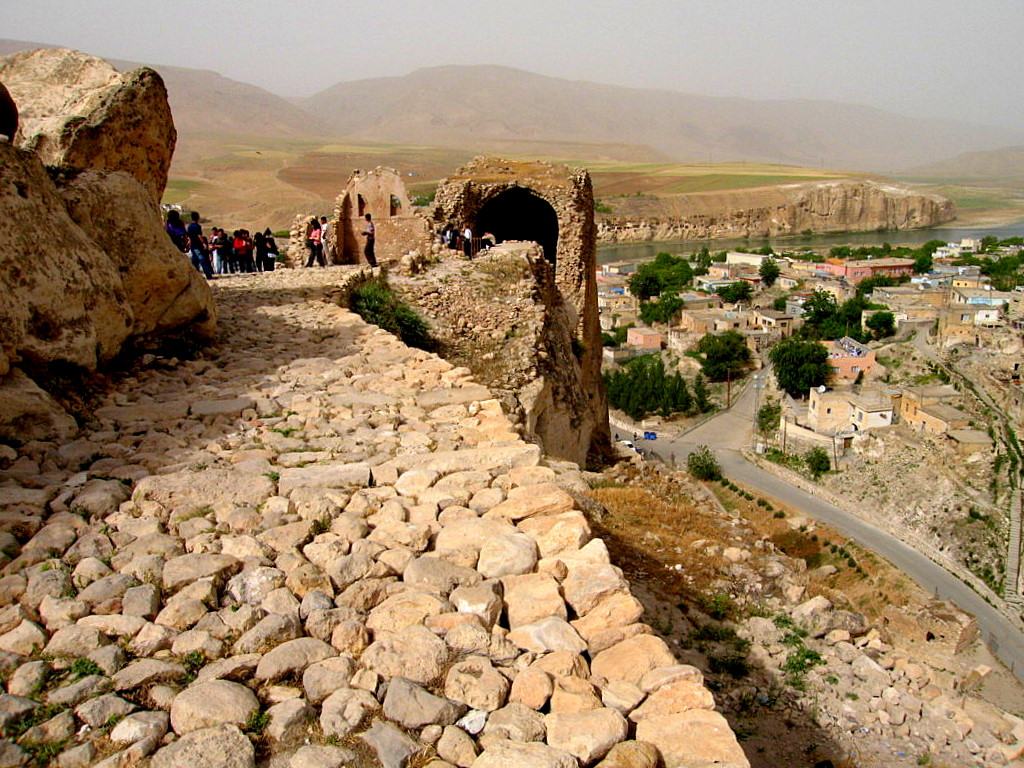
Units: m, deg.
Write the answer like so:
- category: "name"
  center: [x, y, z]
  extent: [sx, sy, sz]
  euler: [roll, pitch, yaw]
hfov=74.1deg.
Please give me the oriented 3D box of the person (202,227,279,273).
- category: "person"
  center: [-5.592, -2.959, 14.259]
  extent: [1.410, 0.757, 1.569]
  euler: [-1, 6, -13]

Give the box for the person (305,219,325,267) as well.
- category: "person"
  center: [-4.384, -3.134, 15.088]
  extent: [0.507, 1.002, 1.240]
  euler: [-10, 23, -13]

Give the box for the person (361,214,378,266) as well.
- category: "person"
  center: [-3.205, -3.230, 15.268]
  extent: [0.357, 1.118, 1.611]
  euler: [-9, 22, -10]
